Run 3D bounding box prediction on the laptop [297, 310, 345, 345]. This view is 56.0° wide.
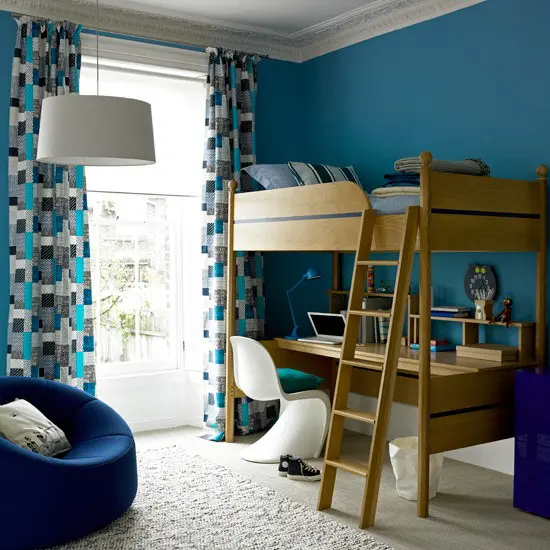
[{"bbox_3d":[0.371,0.380,3.720,0.275,0.220,0.173,5,4,33],"label":"laptop"}]

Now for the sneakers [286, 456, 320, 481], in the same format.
[{"bbox_3d":[0.162,1.129,3.014,0.206,0.116,0.087,2,-2,5],"label":"sneakers"}]

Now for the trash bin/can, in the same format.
[{"bbox_3d":[0.763,0.985,2.752,0.287,0.260,0.281,-3,2,-27],"label":"trash bin/can"}]

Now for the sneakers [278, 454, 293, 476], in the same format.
[{"bbox_3d":[0.063,1.124,3.039,0.047,0.061,0.146,1,-2,15],"label":"sneakers"}]

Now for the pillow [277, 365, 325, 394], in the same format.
[{"bbox_3d":[0.155,0.690,3.382,0.194,0.085,0.202,-3,1,-9],"label":"pillow"}]

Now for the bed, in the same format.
[{"bbox_3d":[0.562,0.003,3.588,1.622,2.399,2.106,1,-1,-32],"label":"bed"}]

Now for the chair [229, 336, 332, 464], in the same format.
[{"bbox_3d":[-0.053,0.802,3.757,0.754,1.114,0.655,0,-1,-31],"label":"chair"}]
